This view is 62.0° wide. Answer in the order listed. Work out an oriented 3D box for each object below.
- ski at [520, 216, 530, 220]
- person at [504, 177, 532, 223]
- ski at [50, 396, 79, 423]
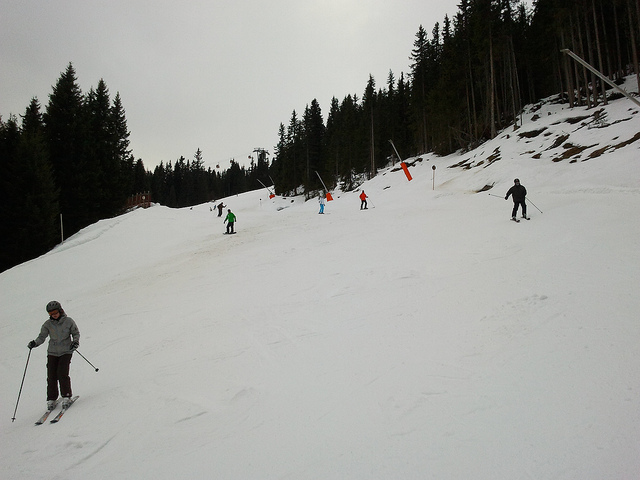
[{"bbox_3d":[9.128,-0.979,23.725,0.034,0.067,0.337,13,8,-30],"label":"ski"},{"bbox_3d":[8.816,-1.827,23.771,0.784,1.979,0.632,-6,24,19],"label":"person"},{"bbox_3d":[-7.441,4.973,15.571,0.151,0.163,1.396,7,36,5],"label":"ski"}]
